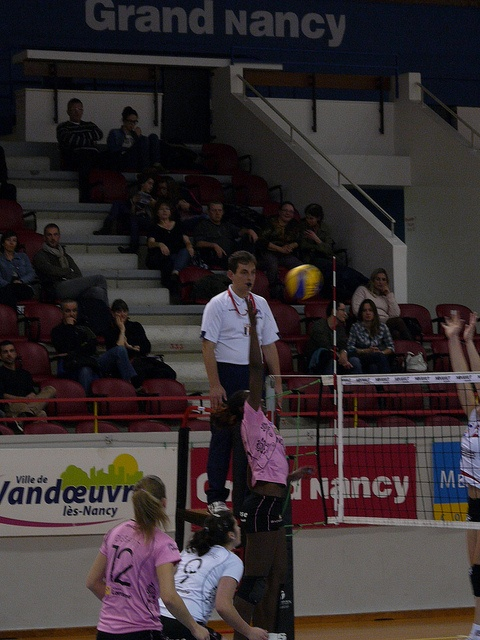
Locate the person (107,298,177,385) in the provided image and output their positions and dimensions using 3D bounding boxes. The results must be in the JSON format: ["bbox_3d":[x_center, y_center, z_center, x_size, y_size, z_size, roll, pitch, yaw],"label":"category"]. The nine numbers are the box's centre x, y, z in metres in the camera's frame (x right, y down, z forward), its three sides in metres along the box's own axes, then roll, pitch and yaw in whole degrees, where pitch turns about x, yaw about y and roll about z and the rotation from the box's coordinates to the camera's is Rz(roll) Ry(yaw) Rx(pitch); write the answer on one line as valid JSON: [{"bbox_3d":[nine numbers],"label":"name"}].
[{"bbox_3d":[-1.088,0.383,11.880,0.460,1.201,0.888,-7,3,-20],"label":"person"}]

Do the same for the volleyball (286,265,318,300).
[{"bbox_3d":[0.522,-0.329,10.035,0.212,0.305,0.284,23,-8,6],"label":"volleyball"}]

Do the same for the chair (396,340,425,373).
[{"bbox_3d":[1.825,0.346,12.891,0.274,0.416,0.342,1,-20,-2],"label":"chair"}]

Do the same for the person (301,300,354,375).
[{"bbox_3d":[0.908,0.191,12.245,0.451,0.774,1.056,-3,-6,3],"label":"person"}]

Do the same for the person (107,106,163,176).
[{"bbox_3d":[-1.484,-2.464,16.557,0.718,0.999,0.782,-2,-6,-6],"label":"person"}]

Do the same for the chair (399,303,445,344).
[{"bbox_3d":[2.203,0.054,14.253,0.416,0.620,0.450,0,-2,-16],"label":"chair"}]

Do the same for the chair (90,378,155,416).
[{"bbox_3d":[-1.174,0.736,11.294,0.308,0.322,0.365,3,-6,-25],"label":"chair"}]

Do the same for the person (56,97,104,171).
[{"bbox_3d":[-2.187,-2.518,16.228,0.595,1.086,0.893,-1,-6,-8],"label":"person"}]

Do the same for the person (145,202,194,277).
[{"bbox_3d":[-0.816,-0.875,14.067,0.485,1.044,0.564,3,-8,-43],"label":"person"}]

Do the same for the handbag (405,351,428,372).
[{"bbox_3d":[1.835,0.455,12.455,0.146,0.229,0.218,-4,13,18],"label":"handbag"}]

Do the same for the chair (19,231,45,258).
[{"bbox_3d":[-2.447,-0.867,13.831,0.269,0.414,0.317,1,-2,-26],"label":"chair"}]

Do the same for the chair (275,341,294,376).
[{"bbox_3d":[0.472,0.409,12.575,0.203,0.376,0.277,0,-3,-20],"label":"chair"}]

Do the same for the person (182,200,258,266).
[{"bbox_3d":[-0.189,-1.034,14.523,0.712,0.869,0.616,-7,-1,-8],"label":"person"}]

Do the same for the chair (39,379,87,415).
[{"bbox_3d":[-1.647,0.723,11.196,0.288,0.391,0.415,-1,-7,6],"label":"chair"}]

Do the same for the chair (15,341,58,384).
[{"bbox_3d":[-2.023,0.435,11.758,0.324,0.564,0.387,2,-10,-20],"label":"chair"}]

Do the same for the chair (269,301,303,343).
[{"bbox_3d":[0.540,0.024,13.348,0.321,0.462,0.397,1,-6,-15],"label":"chair"}]

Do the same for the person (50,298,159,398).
[{"bbox_3d":[-1.506,0.289,11.658,0.745,1.152,0.619,-15,-5,31],"label":"person"}]

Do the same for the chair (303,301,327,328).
[{"bbox_3d":[0.869,-0.053,13.726,0.250,0.348,0.274,1,1,-8],"label":"chair"}]

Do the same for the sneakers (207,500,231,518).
[{"bbox_3d":[-0.154,1.314,8.238,0.125,0.132,0.167,6,-28,9],"label":"sneakers"}]
